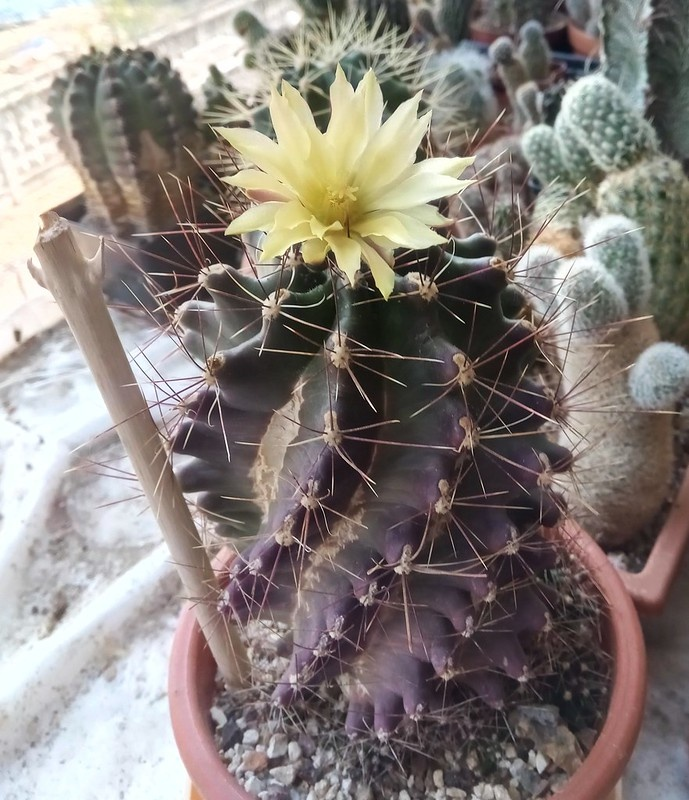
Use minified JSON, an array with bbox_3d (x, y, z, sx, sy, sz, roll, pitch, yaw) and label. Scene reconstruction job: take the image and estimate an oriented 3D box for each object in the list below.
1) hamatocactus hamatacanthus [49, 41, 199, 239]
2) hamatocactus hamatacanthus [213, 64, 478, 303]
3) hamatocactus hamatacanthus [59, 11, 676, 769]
[{"bbox_3d":[-0.316,-0.438,1.182,0.261,0.300,0.264,6,14,-4],"label":"hamatocactus hamatacanthus"},{"bbox_3d":[0.000,-0.128,0.427,0.150,0.119,0.102,-22,36,-8],"label":"hamatocactus hamatacanthus"},{"bbox_3d":[0.038,0.158,0.884,0.530,1.076,0.374,9,47,13],"label":"hamatocactus hamatacanthus"}]
